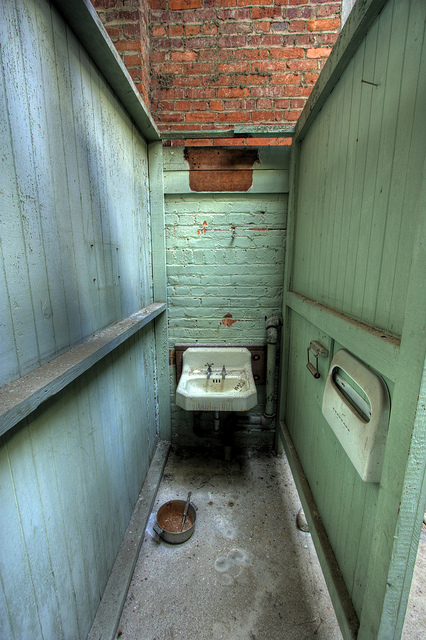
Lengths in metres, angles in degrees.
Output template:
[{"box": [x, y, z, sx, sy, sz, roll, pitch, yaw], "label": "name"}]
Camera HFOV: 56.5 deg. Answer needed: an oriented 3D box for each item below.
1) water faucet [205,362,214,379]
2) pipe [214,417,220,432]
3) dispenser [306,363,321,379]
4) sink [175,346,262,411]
[{"box": [-0.025, 0.311, 2.391, 0.048, 0.154, 0.054, 3, -1, -3], "label": "water faucet"}, {"box": [0.018, 0.629, 2.368, 0.026, 0.106, 0.051, -1, 13, -5], "label": "pipe"}, {"box": [0.401, 0.203, 1.583, 0.026, 0.021, 0.116, 31, -13, 21], "label": "dispenser"}, {"box": [0.016, 0.333, 2.212, 0.433, 0.213, 0.566, 1, 14, 4], "label": "sink"}]
